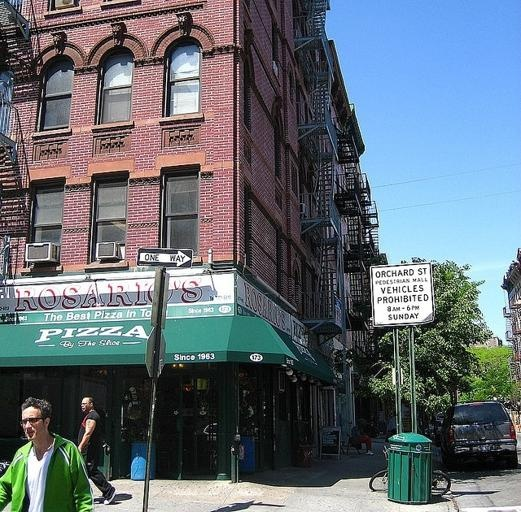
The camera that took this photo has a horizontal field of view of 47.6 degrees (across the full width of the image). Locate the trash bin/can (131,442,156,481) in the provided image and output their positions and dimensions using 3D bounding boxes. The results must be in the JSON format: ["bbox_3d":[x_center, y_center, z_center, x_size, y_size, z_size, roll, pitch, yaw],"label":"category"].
[{"bbox_3d":[-2.592,4.492,12.868,0.520,0.811,0.724,-1,-14,-4],"label":"trash bin/can"}]

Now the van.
[{"bbox_3d":[6.124,5.046,16.597,1.296,1.341,2.742,-4,-19,11],"label":"van"}]

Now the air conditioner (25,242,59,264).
[{"bbox_3d":[-5.215,-0.034,14.126,0.712,0.439,0.422,-5,-14,9],"label":"air conditioner"}]
